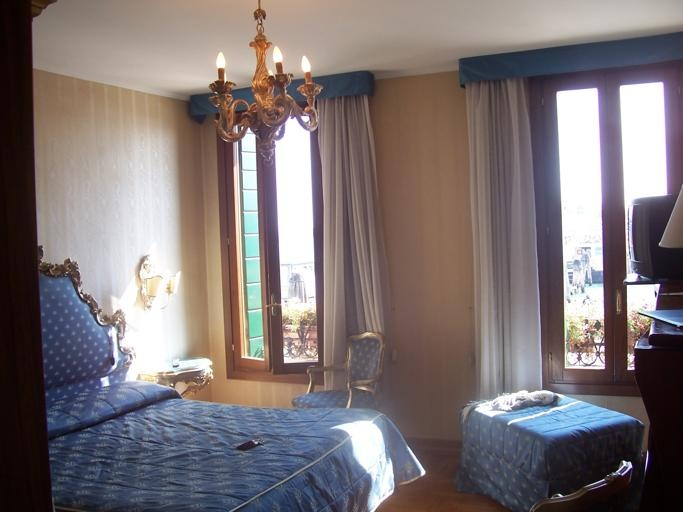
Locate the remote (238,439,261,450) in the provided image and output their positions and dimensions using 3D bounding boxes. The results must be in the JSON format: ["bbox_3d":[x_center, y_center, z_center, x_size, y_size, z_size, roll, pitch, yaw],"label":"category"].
[{"bbox_3d":[-0.567,1.159,3.332,0.047,0.029,0.144,17,8,30],"label":"remote"}]

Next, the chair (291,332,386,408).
[{"bbox_3d":[-0.124,0.918,4.736,0.559,0.936,0.642,-3,-7,45],"label":"chair"}]

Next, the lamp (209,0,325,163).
[{"bbox_3d":[-0.558,-1.147,3.562,0.598,1.030,1.601,-2,10,-13],"label":"lamp"}]

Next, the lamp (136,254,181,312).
[{"bbox_3d":[-1.744,0.263,5.170,0.377,0.637,0.506,0,-2,15],"label":"lamp"}]
